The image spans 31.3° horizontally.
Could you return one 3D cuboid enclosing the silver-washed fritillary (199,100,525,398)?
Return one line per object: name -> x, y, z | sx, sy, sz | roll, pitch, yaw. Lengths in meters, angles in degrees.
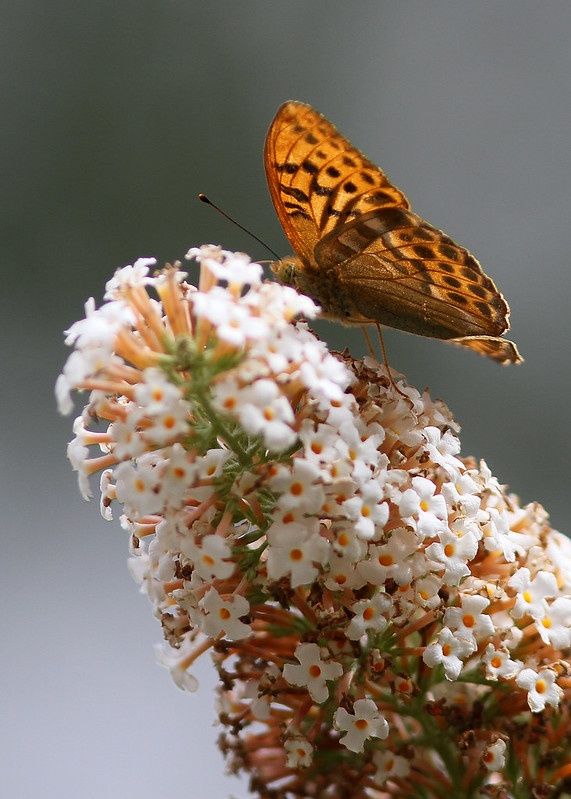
silver-washed fritillary -> 0.149, -0.229, 1.754 | 0.570, 0.297, 0.481 | 4, -3, -2
